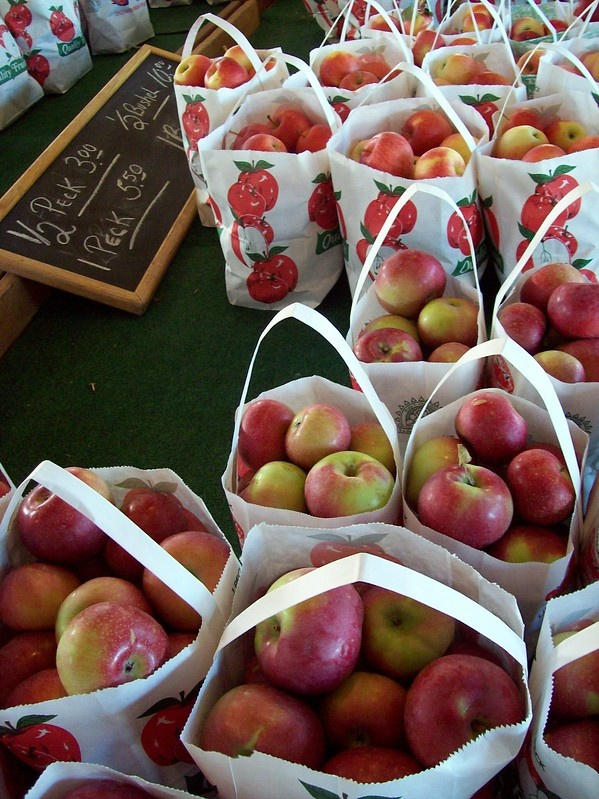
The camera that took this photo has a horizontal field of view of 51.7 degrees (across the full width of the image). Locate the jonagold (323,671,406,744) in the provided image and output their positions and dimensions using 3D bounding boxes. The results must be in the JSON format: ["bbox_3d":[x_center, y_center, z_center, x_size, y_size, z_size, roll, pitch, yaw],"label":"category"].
[{"bbox_3d":[0.060,0.273,0.546,0.059,0.058,0.057,1,89,-4],"label":"jonagold"}]

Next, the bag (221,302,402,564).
[{"bbox_3d":[-0.003,0.005,0.862,0.181,0.274,0.184,-4,23,29],"label":"bag"}]

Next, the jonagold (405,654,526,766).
[{"bbox_3d":[0.131,0.252,0.511,0.081,0.077,0.080,11,66,1],"label":"jonagold"}]
